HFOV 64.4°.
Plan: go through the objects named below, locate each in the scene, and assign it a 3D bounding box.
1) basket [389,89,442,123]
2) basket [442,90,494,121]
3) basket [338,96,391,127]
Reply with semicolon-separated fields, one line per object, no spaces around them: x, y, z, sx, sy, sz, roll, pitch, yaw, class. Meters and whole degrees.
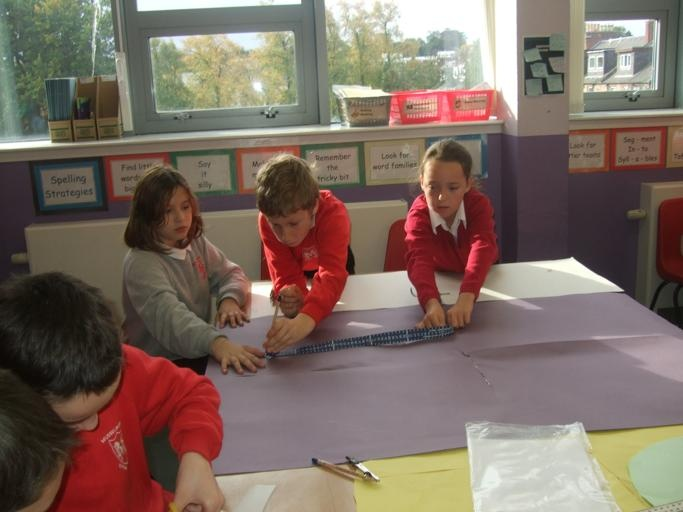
0.356;-0.693;2.565;0.200;0.120;0.163;-7;17;-20;basket
0.602;-0.701;2.573;0.193;0.127;0.147;-2;14;-6;basket
0.104;-0.663;2.506;0.163;0.092;0.135;-4;14;-12;basket
